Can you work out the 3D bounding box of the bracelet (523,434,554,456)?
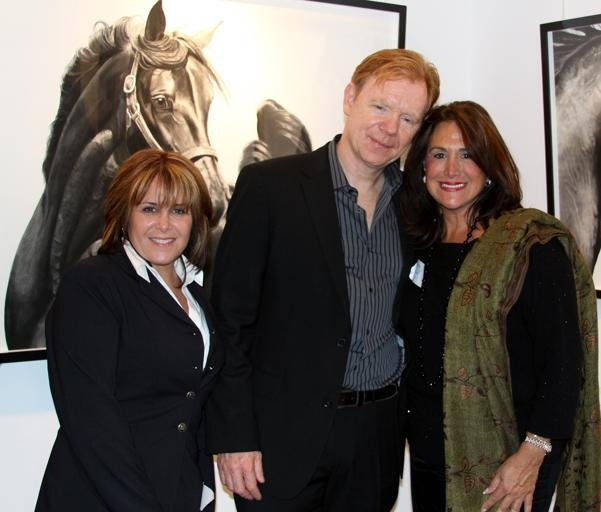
[{"bbox_3d":[0.863,0.672,2.149,0.080,0.043,0.067,28,7,23],"label":"bracelet"}]
